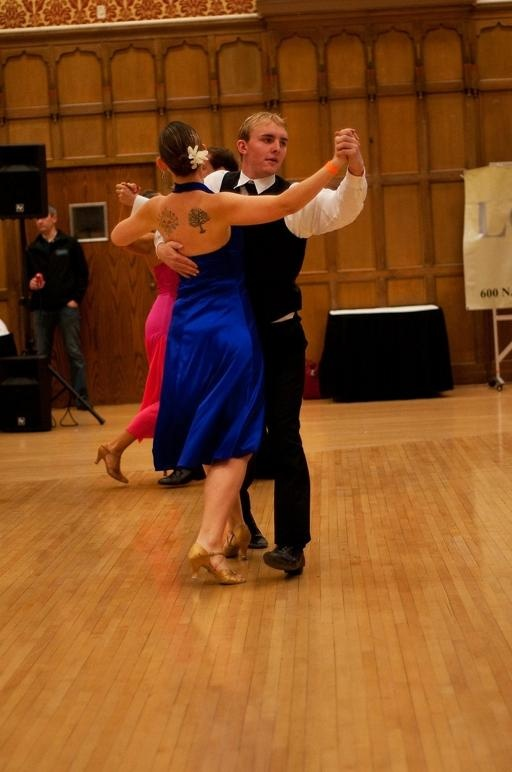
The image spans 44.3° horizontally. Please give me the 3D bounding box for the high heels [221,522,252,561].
[{"bbox_3d":[-0.070,0.596,2.364,0.060,0.105,0.183,-13,-4,-15],"label":"high heels"}]

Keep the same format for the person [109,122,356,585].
[{"bbox_3d":[-0.120,-0.085,1.982,0.809,1.467,0.295,-5,-4,40],"label":"person"}]

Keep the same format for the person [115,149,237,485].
[{"bbox_3d":[-0.532,-0.359,3.643,0.723,1.860,0.795,-5,7,-39],"label":"person"}]

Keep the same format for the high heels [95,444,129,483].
[{"bbox_3d":[-0.892,0.489,3.873,0.248,0.178,0.094,36,5,-15],"label":"high heels"}]

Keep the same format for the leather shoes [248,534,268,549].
[{"bbox_3d":[0.007,0.625,2.507,0.088,0.056,0.172,0,-1,-1],"label":"leather shoes"}]

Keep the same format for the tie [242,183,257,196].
[{"bbox_3d":[-0.019,-0.630,2.021,0.034,0.051,0.013,-6,-9,32],"label":"tie"}]

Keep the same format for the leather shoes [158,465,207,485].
[{"bbox_3d":[-0.433,0.538,3.866,0.339,0.151,0.118,0,-2,-36],"label":"leather shoes"}]
